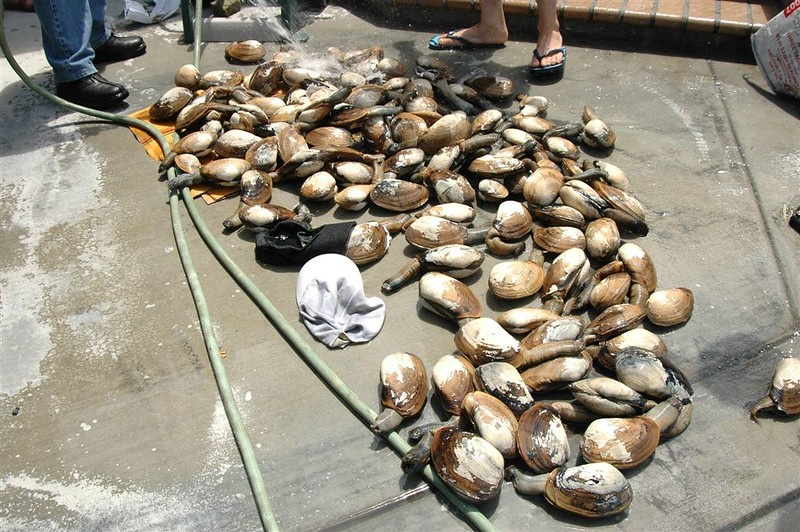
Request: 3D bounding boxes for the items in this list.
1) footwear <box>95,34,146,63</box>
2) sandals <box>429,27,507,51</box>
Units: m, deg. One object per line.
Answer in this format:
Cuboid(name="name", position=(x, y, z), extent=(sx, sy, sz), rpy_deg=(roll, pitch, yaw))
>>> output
Cuboid(name="footwear", position=(-2.410, -1.882, 5.556), extent=(0.497, 0.199, 0.171), rpy_deg=(-17, 59, -15))
Cuboid(name="sandals", position=(0.582, -1.949, 5.548), extent=(0.593, 0.132, 0.240), rpy_deg=(1, 34, 2))
